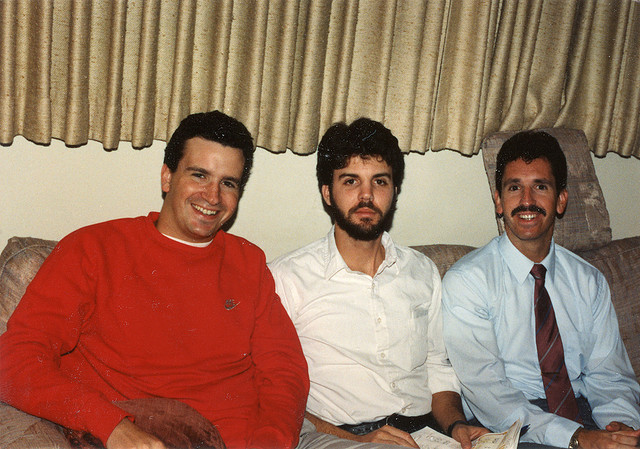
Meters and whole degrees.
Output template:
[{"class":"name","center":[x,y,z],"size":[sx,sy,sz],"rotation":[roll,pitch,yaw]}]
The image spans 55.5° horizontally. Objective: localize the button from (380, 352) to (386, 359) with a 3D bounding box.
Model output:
[{"class":"button","center":[0.283,0.593,2.743],"size":[0.026,0.027,0.006],"rotation":[-5,0,6]}]

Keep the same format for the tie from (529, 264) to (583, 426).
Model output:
[{"class":"tie","center":[1.042,0.579,2.785],"size":[0.184,1.028,0.074],"rotation":[-12,28,13]}]

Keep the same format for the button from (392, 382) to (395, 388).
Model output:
[{"class":"button","center":[0.331,0.727,2.731],"size":[0.003,0.014,0.014],"rotation":[-1,22,27]}]

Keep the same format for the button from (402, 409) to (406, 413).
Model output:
[{"class":"button","center":[0.375,0.837,2.718],"size":[0.012,0.012,0.003],"rotation":[10,6,-14]}]

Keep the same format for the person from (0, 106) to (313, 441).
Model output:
[{"class":"person","center":[-0.740,0.219,2.605],"size":[1.236,1.192,0.670],"rotation":[13,1,-41]}]
